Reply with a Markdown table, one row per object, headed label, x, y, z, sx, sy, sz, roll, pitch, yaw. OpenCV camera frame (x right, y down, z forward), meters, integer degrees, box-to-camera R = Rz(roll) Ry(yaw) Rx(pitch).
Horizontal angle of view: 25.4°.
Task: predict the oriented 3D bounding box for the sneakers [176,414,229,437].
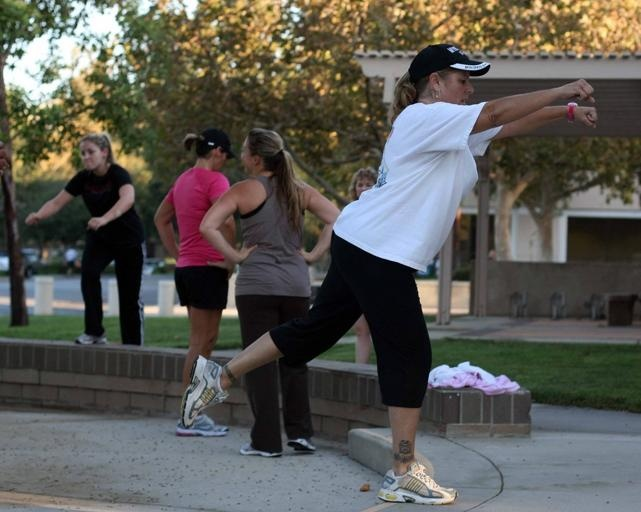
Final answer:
| label | x | y | z | sx | sy | sz | roll | pitch | yaw |
| --- | --- | --- | --- | --- | --- | --- | --- | --- | --- |
| sneakers | -1.216 | 1.712 | 14.573 | 0.490 | 0.220 | 0.225 | 3 | -4 | -12 |

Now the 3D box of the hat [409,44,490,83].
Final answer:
| label | x | y | z | sx | sy | sz | roll | pitch | yaw |
| --- | --- | --- | --- | --- | --- | --- | --- | --- | --- |
| hat | 1.136 | -1.781 | 13.115 | 0.794 | 0.379 | 0.508 | -5 | -5 | 4 |

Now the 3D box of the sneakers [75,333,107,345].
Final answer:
| label | x | y | z | sx | sy | sz | roll | pitch | yaw |
| --- | --- | --- | --- | --- | --- | --- | --- | --- | --- |
| sneakers | -2.581 | 0.914 | 15.969 | 0.354 | 0.172 | 0.126 | 6 | 1 | -17 |

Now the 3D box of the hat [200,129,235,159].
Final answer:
| label | x | y | z | sx | sy | sz | roll | pitch | yaw |
| --- | --- | --- | --- | --- | --- | --- | --- | --- | --- |
| hat | -1.060 | -1.164 | 14.698 | 0.340 | 0.185 | 0.234 | 13 | 12 | -36 |

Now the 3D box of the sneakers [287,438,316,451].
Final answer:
| label | x | y | z | sx | sy | sz | roll | pitch | yaw |
| --- | --- | --- | --- | --- | --- | --- | --- | --- | --- |
| sneakers | -0.190 | 1.852 | 14.094 | 0.281 | 0.112 | 0.123 | 12 | 0 | -2 |

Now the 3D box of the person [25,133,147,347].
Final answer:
| label | x | y | z | sx | sy | sz | roll | pitch | yaw |
| --- | --- | --- | --- | --- | --- | --- | --- | --- | --- |
| person | -2.488 | -0.222 | 15.793 | 1.028 | 2.407 | 0.986 | -1 | -2 | -3 |

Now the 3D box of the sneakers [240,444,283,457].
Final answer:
| label | x | y | z | sx | sy | sz | roll | pitch | yaw |
| --- | --- | --- | --- | --- | --- | --- | --- | --- | --- |
| sneakers | -0.594 | 1.908 | 13.959 | 0.367 | 0.145 | 0.146 | 7 | -3 | 11 |
